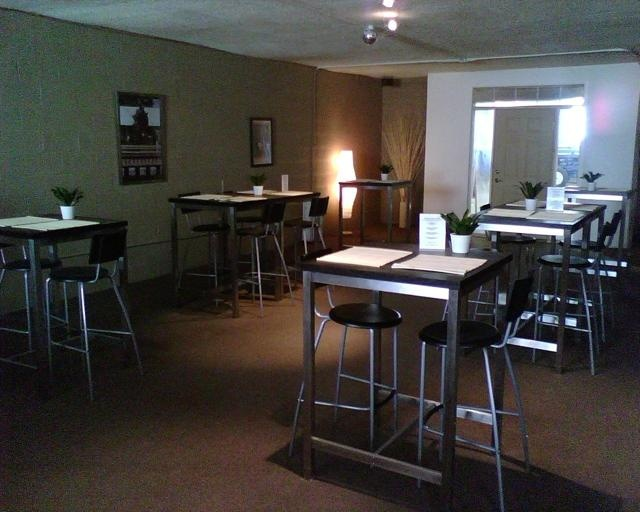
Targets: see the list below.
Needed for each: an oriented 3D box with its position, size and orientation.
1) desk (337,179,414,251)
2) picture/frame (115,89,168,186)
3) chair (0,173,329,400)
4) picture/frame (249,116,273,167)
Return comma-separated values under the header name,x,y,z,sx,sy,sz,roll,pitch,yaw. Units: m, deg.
name,x,y,z,sx,sy,sz,roll,pitch,yaw
desk,0.878,-0.678,8.725,1.321,1.163,1.279,-6,12,-8
picture/frame,-2.197,-1.417,6.460,0.100,1.080,0.770,9,16,28
chair,-1.461,0.047,5.238,0.978,1.249,3.286,6,14,33
picture/frame,-0.933,-1.756,8.085,0.078,0.785,0.684,5,14,26
